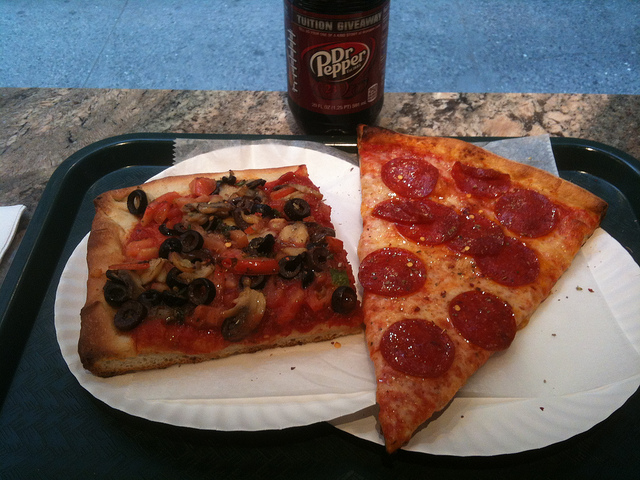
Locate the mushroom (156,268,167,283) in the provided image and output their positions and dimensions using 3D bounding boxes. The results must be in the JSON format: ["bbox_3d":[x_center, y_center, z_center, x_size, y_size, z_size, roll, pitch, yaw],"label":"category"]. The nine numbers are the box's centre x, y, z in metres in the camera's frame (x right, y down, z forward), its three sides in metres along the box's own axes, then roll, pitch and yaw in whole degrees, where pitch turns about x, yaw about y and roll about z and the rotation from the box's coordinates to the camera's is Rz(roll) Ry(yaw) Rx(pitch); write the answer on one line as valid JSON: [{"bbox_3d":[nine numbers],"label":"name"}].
[{"bbox_3d":[-1.125,0.258,3.739,0.085,0.027,0.079,-10,63,23],"label":"mushroom"}]

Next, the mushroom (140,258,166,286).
[{"bbox_3d":[-1.176,0.237,3.756,0.116,0.045,0.185,19,66,45],"label":"mushroom"}]

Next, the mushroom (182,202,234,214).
[{"bbox_3d":[-0.848,-0.241,3.958,0.237,0.054,0.133,-5,25,-1],"label":"mushroom"}]

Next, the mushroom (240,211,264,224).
[{"bbox_3d":[-0.515,-0.156,3.961,0.120,0.035,0.092,21,34,24],"label":"mushroom"}]

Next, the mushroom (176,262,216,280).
[{"bbox_3d":[-0.869,0.239,3.714,0.169,0.042,0.126,-21,21,-2],"label":"mushroom"}]

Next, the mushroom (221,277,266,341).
[{"bbox_3d":[-0.526,0.494,3.613,0.342,0.235,0.359,16,32,17],"label":"mushroom"}]

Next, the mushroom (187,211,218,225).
[{"bbox_3d":[-0.888,-0.158,3.924,0.169,0.095,0.061,-7,-22,-6],"label":"mushroom"}]
